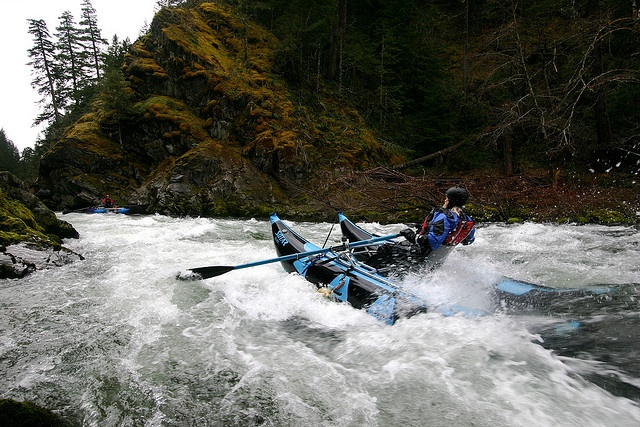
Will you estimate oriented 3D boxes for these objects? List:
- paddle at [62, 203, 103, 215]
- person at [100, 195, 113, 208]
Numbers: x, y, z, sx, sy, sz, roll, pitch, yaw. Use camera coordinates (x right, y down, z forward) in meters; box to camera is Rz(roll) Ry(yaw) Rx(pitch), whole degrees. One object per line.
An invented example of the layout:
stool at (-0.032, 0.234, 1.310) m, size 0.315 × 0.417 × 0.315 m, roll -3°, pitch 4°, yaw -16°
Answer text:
paddle at (-12.170, -0.182, 24.432) m, size 2.281 × 0.270 × 0.522 m, roll -4°, pitch 39°, yaw 14°
person at (-11.080, -0.575, 24.494) m, size 0.524 × 0.720 × 0.568 m, roll 7°, pitch 16°, yaw 5°
